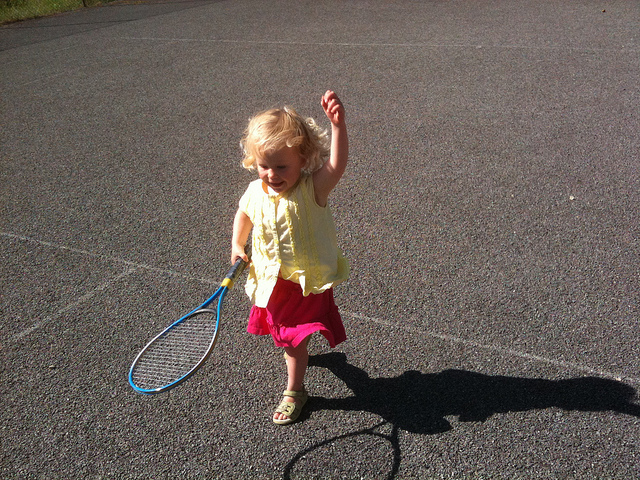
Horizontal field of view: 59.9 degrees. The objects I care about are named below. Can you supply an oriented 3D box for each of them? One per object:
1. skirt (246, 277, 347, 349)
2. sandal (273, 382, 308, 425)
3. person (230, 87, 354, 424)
[{"bbox_3d":[-0.116,0.355,3.630,0.560,0.557,0.405,-1,33,-13],"label":"skirt"},{"bbox_3d":[-0.194,1.085,3.734,0.152,0.158,0.359,6,18,24],"label":"sandal"},{"bbox_3d":[-0.136,0.120,3.495,0.821,1.940,0.771,-13,32,-6],"label":"person"}]
